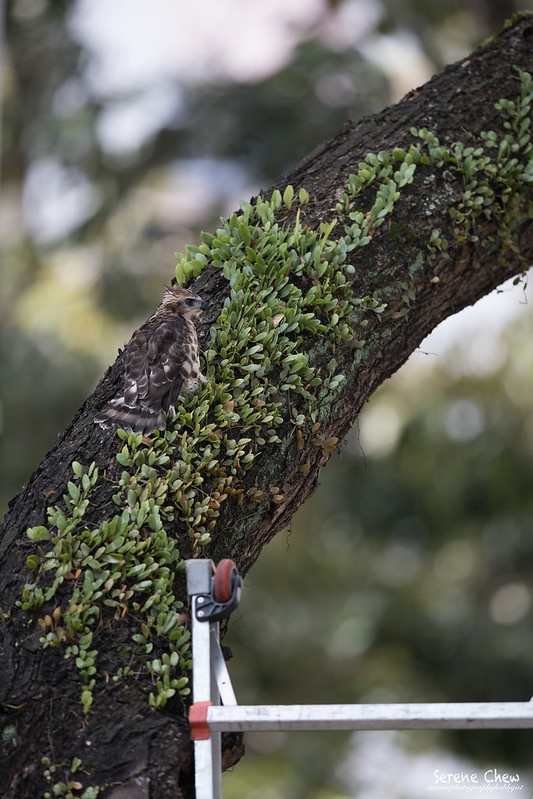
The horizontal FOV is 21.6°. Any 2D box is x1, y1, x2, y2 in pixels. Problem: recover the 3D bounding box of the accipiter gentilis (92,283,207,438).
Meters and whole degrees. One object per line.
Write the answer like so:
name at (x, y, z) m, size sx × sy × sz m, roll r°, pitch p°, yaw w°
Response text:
accipiter gentilis at (-0.435, -0.107, 5.747) m, size 0.441 × 0.769 × 0.478 m, roll -9°, pitch -28°, yaw 11°
